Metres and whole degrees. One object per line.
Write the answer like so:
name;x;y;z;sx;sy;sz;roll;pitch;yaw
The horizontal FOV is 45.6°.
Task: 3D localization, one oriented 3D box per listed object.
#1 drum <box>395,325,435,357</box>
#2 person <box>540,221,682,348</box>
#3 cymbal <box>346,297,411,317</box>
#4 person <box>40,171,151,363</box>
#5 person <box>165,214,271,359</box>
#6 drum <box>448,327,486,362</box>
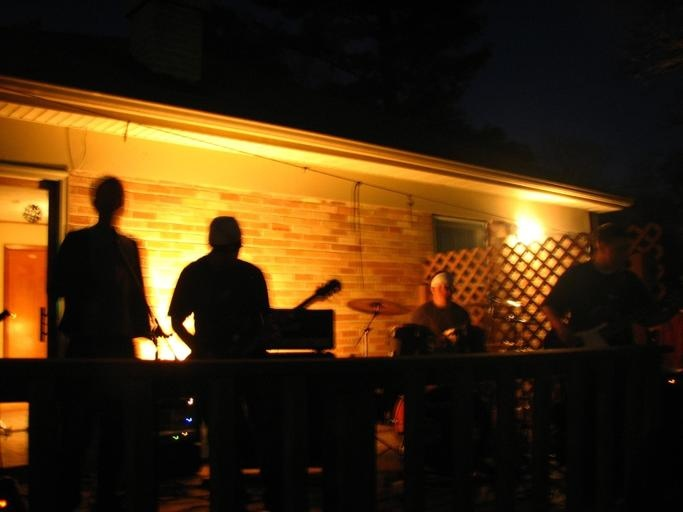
drum;0.683;0.779;7.706;0.394;0.278;0.192;1;-7;5
person;2.348;0.415;7.010;1.124;1.386;0.840;7;9;32
cymbal;0.358;0.508;8.294;0.630;0.149;0.408;3;-7;-18
person;-1.841;0.080;6.237;0.760;1.362;0.194;3;-7;-18
person;-0.930;0.228;6.171;0.730;1.061;0.255;3;-7;-11
drum;1.064;0.747;6.950;0.151;0.163;0.277;-3;2;31
